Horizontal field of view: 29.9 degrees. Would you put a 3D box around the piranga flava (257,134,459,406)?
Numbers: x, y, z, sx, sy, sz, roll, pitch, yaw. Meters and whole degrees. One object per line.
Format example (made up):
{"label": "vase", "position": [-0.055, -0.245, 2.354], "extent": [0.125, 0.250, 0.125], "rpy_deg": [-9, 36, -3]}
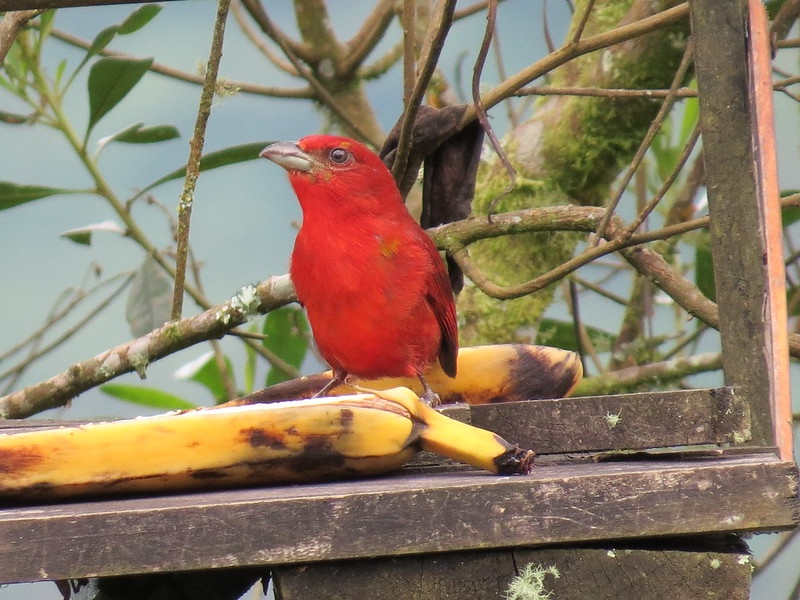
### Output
{"label": "piranga flava", "position": [-0.090, -0.102, 4.818], "extent": [0.553, 0.813, 0.531], "rpy_deg": [-4, 5, 3]}
